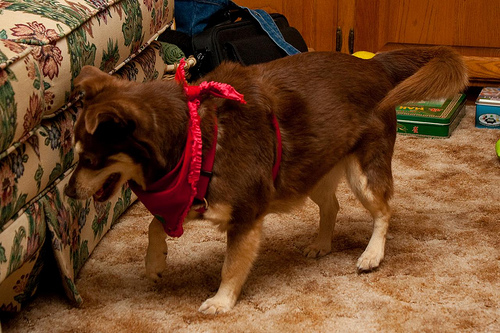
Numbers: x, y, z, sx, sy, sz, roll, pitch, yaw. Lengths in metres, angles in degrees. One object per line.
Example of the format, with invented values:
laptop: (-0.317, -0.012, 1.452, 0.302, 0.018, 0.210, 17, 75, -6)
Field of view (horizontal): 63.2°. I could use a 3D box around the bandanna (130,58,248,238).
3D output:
bandanna: (-0.270, -0.043, 1.717, 0.267, 0.764, 0.463, 7, -2, 6)
